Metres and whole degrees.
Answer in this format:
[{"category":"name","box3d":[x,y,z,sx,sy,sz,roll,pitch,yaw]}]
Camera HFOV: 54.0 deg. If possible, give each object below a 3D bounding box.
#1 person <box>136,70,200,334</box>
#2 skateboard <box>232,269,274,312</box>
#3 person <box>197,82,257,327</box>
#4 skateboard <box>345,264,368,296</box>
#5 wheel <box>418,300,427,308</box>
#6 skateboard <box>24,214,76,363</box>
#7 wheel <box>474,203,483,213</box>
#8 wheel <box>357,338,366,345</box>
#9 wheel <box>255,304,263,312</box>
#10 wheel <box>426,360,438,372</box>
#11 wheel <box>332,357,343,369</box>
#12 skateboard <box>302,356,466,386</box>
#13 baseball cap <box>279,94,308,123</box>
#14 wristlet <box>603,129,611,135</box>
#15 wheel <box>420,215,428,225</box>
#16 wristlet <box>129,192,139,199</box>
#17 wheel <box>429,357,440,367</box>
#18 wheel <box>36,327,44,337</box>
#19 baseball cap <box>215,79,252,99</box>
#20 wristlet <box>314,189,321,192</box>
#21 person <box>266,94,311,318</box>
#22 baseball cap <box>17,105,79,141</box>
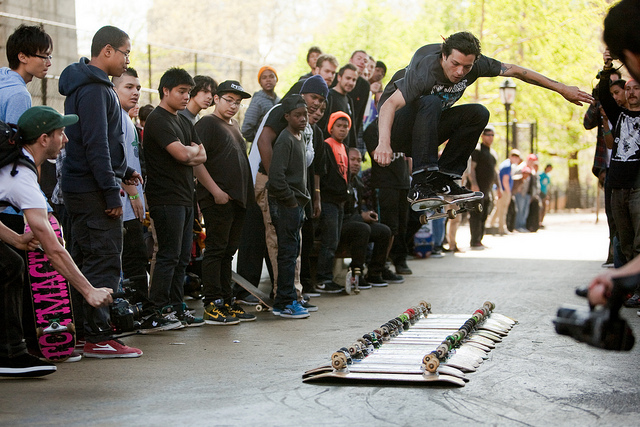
[{"category":"person","box3d":[-1.730,-0.187,7.238,0.727,2.876,1.334,-2,6,-11]},{"category":"skateboard","box3d":[-0.892,1.003,8.180,0.632,0.093,0.163,40,17,3]},{"category":"person","box3d":[-1.118,-0.167,7.381,0.621,2.825,0.964,-1,6,-7]},{"category":"skateboard","box3d":[0.480,0.940,8.899,0.258,0.383,0.374,4,-7,-11]},{"category":"wheel","box3d":[1.208,1.057,7.401,0.098,0.087,0.031,-5,-15,-6]},{"category":"skateboard","box3d":[-2.498,0.690,5.797,0.392,1.421,0.222,-5,-5,-29]},{"category":"wheel","box3d":[1.853,-0.055,7.351,0.107,0.096,0.097,-9,-42,16]},{"category":"wheel","box3d":[0.379,1.166,5.770,0.085,0.036,0.107,6,-8,-8]},{"category":"wheel","box3d":[-0.755,1.166,7.823,0.066,0.110,0.118,-3,2,-43]},{"category":"wheel","box3d":[0.915,1.246,5.150,0.087,0.105,0.031,1,6,17]},{"category":"wheel","box3d":[0.149,1.241,5.247,0.103,0.093,0.031,-6,-4,11]},{"category":"skateboard","box3d":[0.598,1.333,5.181,0.909,0.132,0.471,0,-3,6]},{"category":"baseball cap","box3d":[-0.342,-1.281,7.519,0.304,0.144,0.188,-30,3,31]},{"category":"wristlet","box3d":[3.810,-1.098,8.386,0.071,0.067,0.158,-1,5,-5]},{"category":"wheel","box3d":[1.206,0.053,7.306,0.083,0.130,0.135,5,3,19]},{"category":"wristlet","box3d":[-2.023,-0.198,6.884,0.073,0.051,0.138,3,6,33]},{"category":"wheel","box3d":[0.954,1.205,5.184,0.097,0.025,0.099,7,0,0]},{"category":"wheel","box3d":[-2.535,1.065,5.695,0.078,0.085,0.072,-1,-2,0]},{"category":"baseball cap","box3d":[-1.039,-1.539,7.612,0.344,0.143,0.233,-2,-4,17]},{"category":"wristlet","box3d":[-0.031,-0.322,8.518,0.031,0.041,0.184,1,5,18]},{"category":"person","box3d":[-0.365,-0.113,7.670,0.525,2.651,0.829,-1,6,-1]},{"category":"baseball cap","box3d":[-2.372,-0.826,5.527,0.491,0.202,0.287,-11,10,-17]}]
